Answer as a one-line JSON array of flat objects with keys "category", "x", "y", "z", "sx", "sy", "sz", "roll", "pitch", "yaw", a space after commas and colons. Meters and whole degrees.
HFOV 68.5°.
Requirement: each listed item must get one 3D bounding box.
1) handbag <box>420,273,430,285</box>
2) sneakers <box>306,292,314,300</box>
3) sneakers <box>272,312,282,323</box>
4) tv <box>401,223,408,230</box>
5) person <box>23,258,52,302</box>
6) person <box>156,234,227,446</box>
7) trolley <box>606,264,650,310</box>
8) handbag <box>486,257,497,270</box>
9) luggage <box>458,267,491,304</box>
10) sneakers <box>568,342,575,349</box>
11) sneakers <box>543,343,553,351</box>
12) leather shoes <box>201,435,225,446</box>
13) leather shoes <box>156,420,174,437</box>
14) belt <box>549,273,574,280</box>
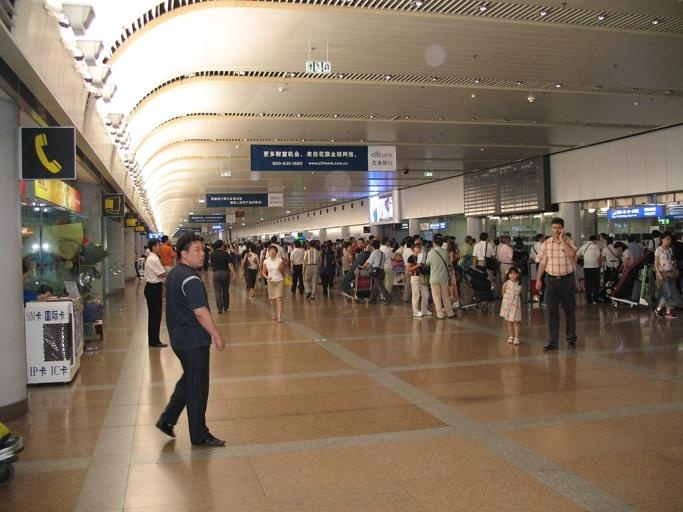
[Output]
[{"category": "handbag", "x": 2.232, "y": 0.632, "z": 13.584, "sx": 0.289, "sy": 0.423, "sz": 0.236, "roll": 1, "pitch": 2, "yaw": -24}, {"category": "sneakers", "x": -1.122, "y": 1.480, "z": 18.465, "sx": 0.183, "sy": 0.219, "sz": 0.531, "roll": 1, "pitch": -5, "yaw": -13}, {"category": "sneakers", "x": -1.642, "y": 1.551, "z": 12.942, "sx": 0.144, "sy": 0.226, "sz": 0.493, "roll": 1, "pitch": -11, "yaw": -12}, {"category": "tv", "x": 4.375, "y": -2.006, "z": 34.839, "sx": 0.534, "sy": 0.302, "sz": 0.517, "roll": -1, "pitch": -6, "yaw": 16}, {"category": "person", "x": -4.830, "y": 0.380, "z": 8.045, "sx": 0.364, "sy": 0.682, "sz": 1.456, "roll": -2, "pitch": -1, "yaw": -31}, {"category": "person", "x": -1.568, "y": 0.866, "z": 5.198, "sx": 0.668, "sy": 1.498, "sz": 0.848, "roll": -2, "pitch": -1, "yaw": -22}, {"category": "trolley", "x": 7.998, "y": 0.843, "z": 13.902, "sx": 0.915, "sy": 1.225, "sz": 0.851, "roll": 3, "pitch": -1, "yaw": 38}, {"category": "handbag", "x": 4.575, "y": 0.258, "z": 15.312, "sx": 0.317, "sy": 0.416, "sz": 0.562, "roll": -4, "pitch": -4, "yaw": 41}, {"category": "luggage", "x": 3.674, "y": 0.669, "z": 13.875, "sx": 0.780, "sy": 1.113, "sz": 1.116, "roll": -2, "pitch": 0, "yaw": -10}, {"category": "sneakers", "x": 4.108, "y": 1.591, "z": 9.003, "sx": 0.125, "sy": 0.112, "sz": 0.180, "roll": -3, "pitch": -1, "yaw": 23}, {"category": "sneakers", "x": 3.642, "y": 1.611, "z": 8.814, "sx": 0.213, "sy": 0.126, "sz": 0.169, "roll": -3, "pitch": -1, "yaw": 11}, {"category": "leather shoes", "x": -1.306, "y": 1.905, "z": 5.204, "sx": 0.251, "sy": 0.116, "sz": 0.097, "roll": 3, "pitch": -6, "yaw": -3}, {"category": "leather shoes", "x": -1.859, "y": 1.835, "z": 5.352, "sx": 0.228, "sy": 0.105, "sz": 0.076, "roll": 43, "pitch": 3, "yaw": -27}, {"category": "belt", "x": 3.912, "y": 0.355, "z": 8.972, "sx": 0.420, "sy": 0.096, "sz": 0.145, "roll": -3, "pitch": -1, "yaw": 1}]
